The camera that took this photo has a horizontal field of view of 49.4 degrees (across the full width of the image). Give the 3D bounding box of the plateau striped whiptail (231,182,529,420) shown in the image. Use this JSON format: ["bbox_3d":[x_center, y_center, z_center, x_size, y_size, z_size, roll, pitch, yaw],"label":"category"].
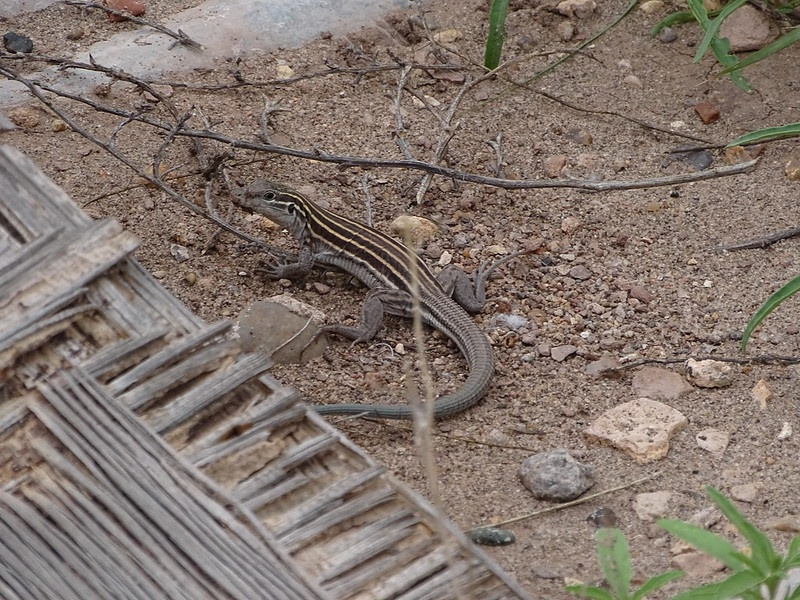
[{"bbox_3d":[-0.106,-0.098,4.656,1.490,0.302,1.480,33,42,23],"label":"plateau striped whiptail"}]
